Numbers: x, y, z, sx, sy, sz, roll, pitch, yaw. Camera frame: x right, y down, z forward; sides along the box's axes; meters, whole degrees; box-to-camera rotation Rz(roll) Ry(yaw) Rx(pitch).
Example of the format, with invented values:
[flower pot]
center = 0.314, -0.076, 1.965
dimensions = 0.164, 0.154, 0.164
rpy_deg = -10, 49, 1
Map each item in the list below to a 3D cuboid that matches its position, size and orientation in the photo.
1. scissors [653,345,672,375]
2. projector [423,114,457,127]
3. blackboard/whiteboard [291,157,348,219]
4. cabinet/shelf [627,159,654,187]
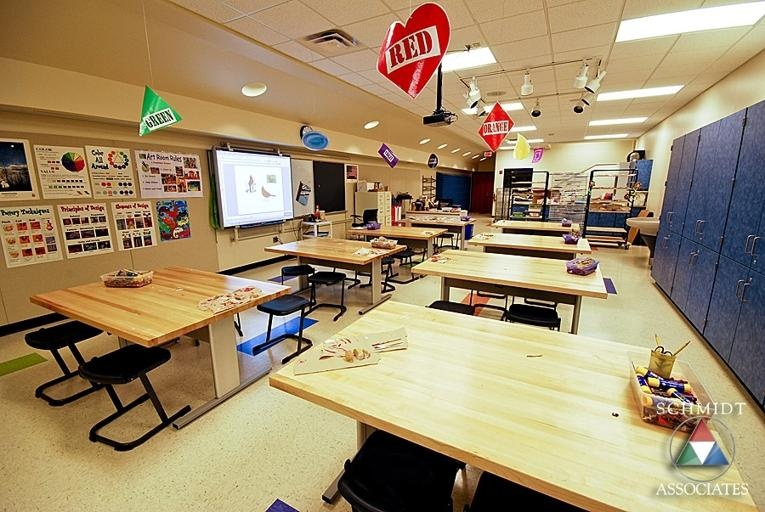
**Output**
[scissors]
center = 2.270, 0.846, 3.784
dimensions = 0.184, 0.242, 0.126
rpy_deg = 5, 14, 19
[projector]
center = 0.683, -1.661, 5.715
dimensions = 0.323, 0.120, 0.221
rpy_deg = 4, 12, 17
[blackboard/whiteboard]
center = -1.396, -1.479, 10.042
dimensions = 0.063, 0.879, 1.624
rpy_deg = 2, 7, 25
[cabinet/shelf]
center = 6.105, -1.952, 11.187
dimensions = 0.367, 0.651, 0.682
rpy_deg = -1, 12, -9
